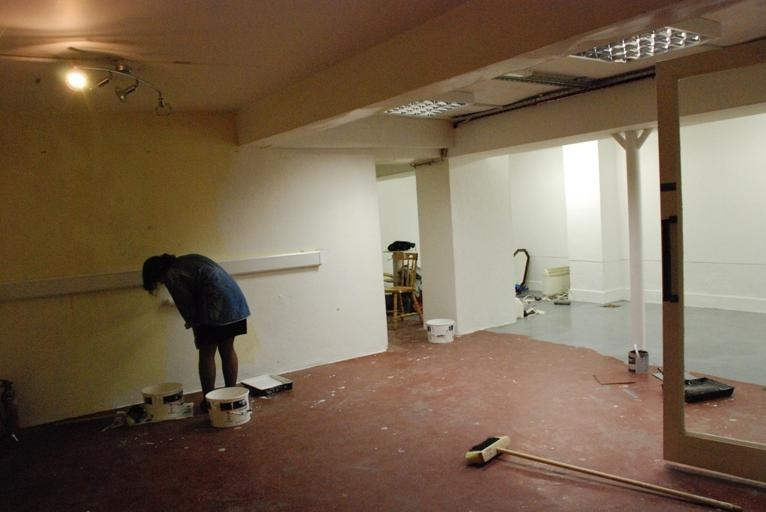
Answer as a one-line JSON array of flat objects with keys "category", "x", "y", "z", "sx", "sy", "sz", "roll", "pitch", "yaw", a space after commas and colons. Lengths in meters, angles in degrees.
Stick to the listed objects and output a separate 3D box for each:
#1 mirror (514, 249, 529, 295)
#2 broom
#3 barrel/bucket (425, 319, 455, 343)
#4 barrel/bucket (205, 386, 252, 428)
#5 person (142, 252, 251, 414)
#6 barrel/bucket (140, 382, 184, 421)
[{"category": "mirror", "x": 2.931, "y": 0.291, "z": 11.587, "sx": 0.308, "sy": 0.817, "sz": 0.728, "roll": -1, "pitch": 12, "yaw": 14}, {"category": "broom", "x": 1.660, "y": 1.707, "z": 4.337, "sx": 1.927, "sy": 0.150, "sz": 0.641, "roll": 6, "pitch": 15, "yaw": 42}, {"category": "barrel/bucket", "x": 0.823, "y": 1.043, "z": 7.878, "sx": 0.334, "sy": 0.199, "sz": 0.329, "roll": 0, "pitch": 4, "yaw": 0}, {"category": "barrel/bucket", "x": -1.534, "y": 1.538, "z": 5.618, "sx": 0.405, "sy": 0.254, "sz": 0.390, "roll": -6, "pitch": -2, "yaw": 0}, {"category": "person", "x": -1.895, "y": 0.773, "z": 5.847, "sx": 0.843, "sy": 1.622, "sz": 0.598, "roll": 6, "pitch": 15, "yaw": 39}, {"category": "barrel/bucket", "x": -2.288, "y": 1.519, "z": 5.824, "sx": 0.397, "sy": 0.274, "sz": 0.397, "roll": -4, "pitch": 3, "yaw": 0}]
